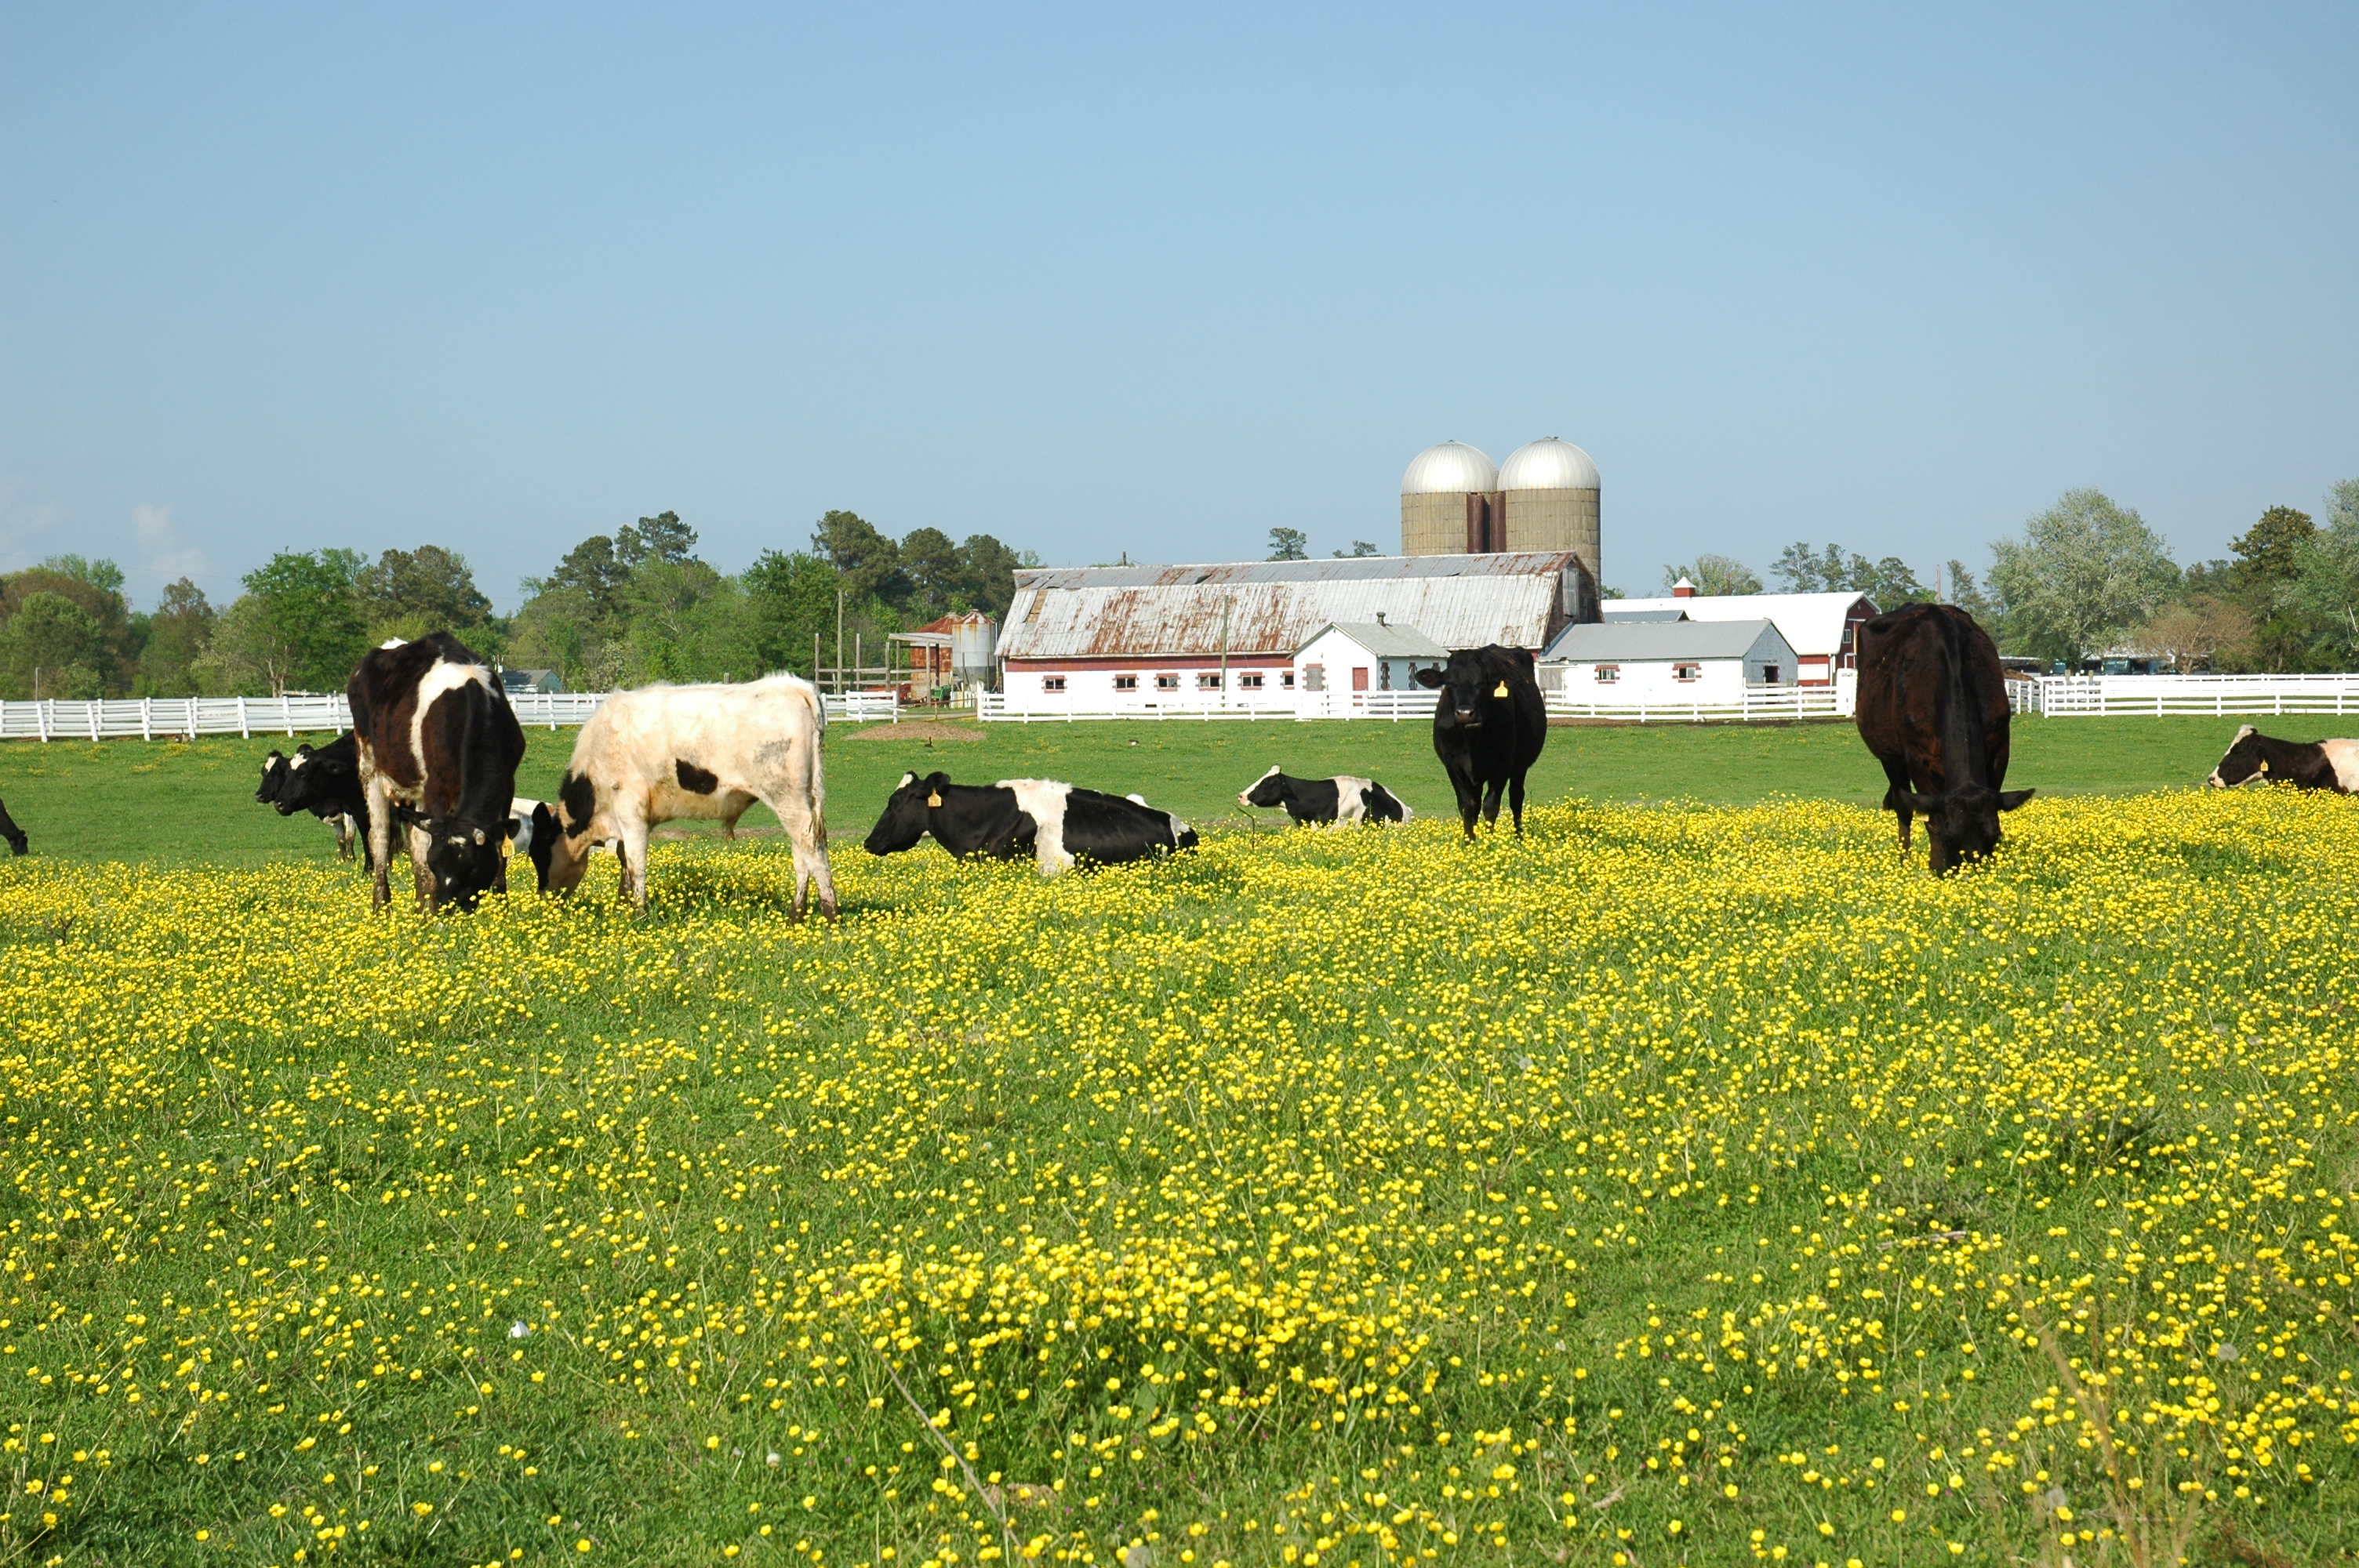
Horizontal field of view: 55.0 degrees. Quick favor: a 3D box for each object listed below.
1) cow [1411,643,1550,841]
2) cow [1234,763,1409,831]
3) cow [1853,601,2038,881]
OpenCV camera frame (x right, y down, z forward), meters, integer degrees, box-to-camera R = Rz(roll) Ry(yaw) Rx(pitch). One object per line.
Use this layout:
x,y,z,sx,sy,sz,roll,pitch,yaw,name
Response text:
3.964,-0.508,28.951,1.106,2.615,2.819,0,10,11,cow
2.313,0.259,34.070,2.837,1.418,0.975,4,-2,14,cow
8.078,-0.549,23.966,1.271,2.584,3.316,-1,10,10,cow
